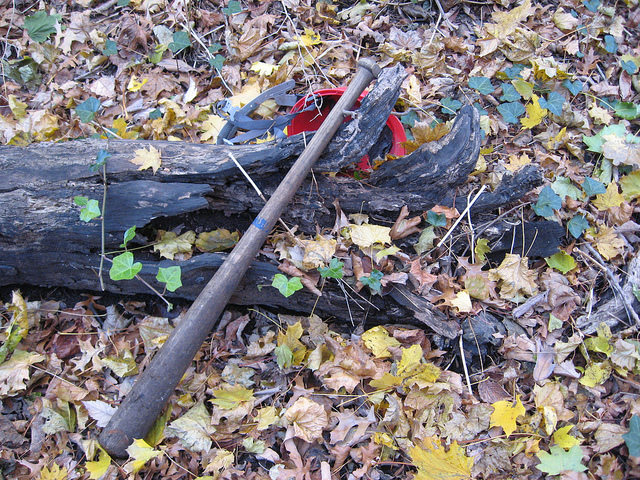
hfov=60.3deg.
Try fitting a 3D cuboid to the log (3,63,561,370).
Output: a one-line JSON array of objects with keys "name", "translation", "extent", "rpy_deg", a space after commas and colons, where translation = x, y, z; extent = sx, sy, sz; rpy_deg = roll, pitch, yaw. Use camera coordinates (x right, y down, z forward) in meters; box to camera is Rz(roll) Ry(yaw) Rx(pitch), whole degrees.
[{"name": "log", "translation": [-0.380, -0.150, 2.987], "extent": [3.254, 0.667, 1.355], "rpy_deg": [2, 78, -5]}]
